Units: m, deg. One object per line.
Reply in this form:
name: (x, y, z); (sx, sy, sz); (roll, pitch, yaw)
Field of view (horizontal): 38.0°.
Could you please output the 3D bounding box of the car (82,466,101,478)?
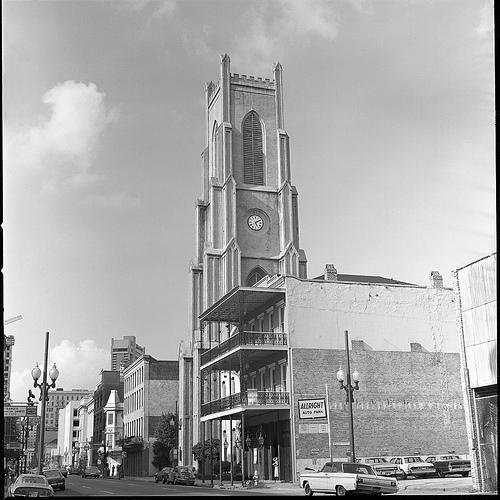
car: (-14.272, 19.892, 65.273); (1.267, 1.124, 3.085); (3, -16, -10)
